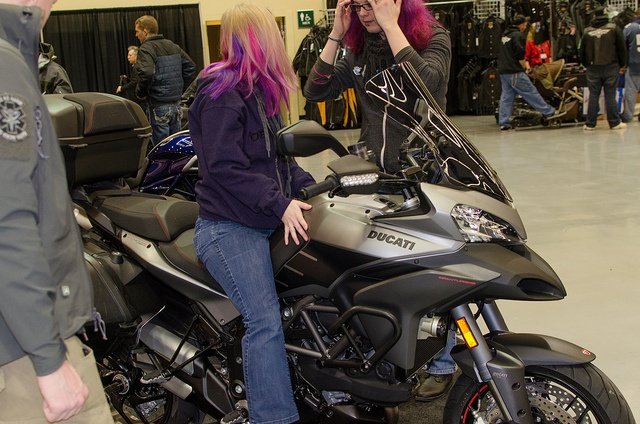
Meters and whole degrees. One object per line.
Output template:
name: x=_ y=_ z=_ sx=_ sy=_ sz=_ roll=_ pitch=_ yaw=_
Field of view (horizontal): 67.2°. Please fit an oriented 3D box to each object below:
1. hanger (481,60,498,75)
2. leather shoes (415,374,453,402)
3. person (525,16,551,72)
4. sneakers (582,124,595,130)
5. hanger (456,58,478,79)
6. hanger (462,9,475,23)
hanger: x=4.771 y=-4.039 z=13.629 sx=0.411 sy=0.390 sz=0.333 roll=1 pitch=12 yaw=18
leather shoes: x=0.685 y=1.068 z=2.936 sx=0.103 sy=0.122 sz=0.281 roll=3 pitch=12 yaw=36
person: x=6.227 y=-4.647 z=13.640 sx=0.873 sy=1.317 sz=0.464 roll=-10 pitch=37 yaw=21
sneakers: x=5.782 y=-1.806 z=10.441 sx=0.090 sy=0.128 sz=0.283 roll=-6 pitch=21 yaw=-19
hanger: x=4.334 y=-4.134 z=14.090 sx=0.432 sy=0.599 sz=0.235 roll=12 pitch=30 yaw=-21
hanger: x=4.161 y=-5.412 z=13.519 sx=0.256 sy=0.140 sz=0.396 roll=3 pitch=50 yaw=14
